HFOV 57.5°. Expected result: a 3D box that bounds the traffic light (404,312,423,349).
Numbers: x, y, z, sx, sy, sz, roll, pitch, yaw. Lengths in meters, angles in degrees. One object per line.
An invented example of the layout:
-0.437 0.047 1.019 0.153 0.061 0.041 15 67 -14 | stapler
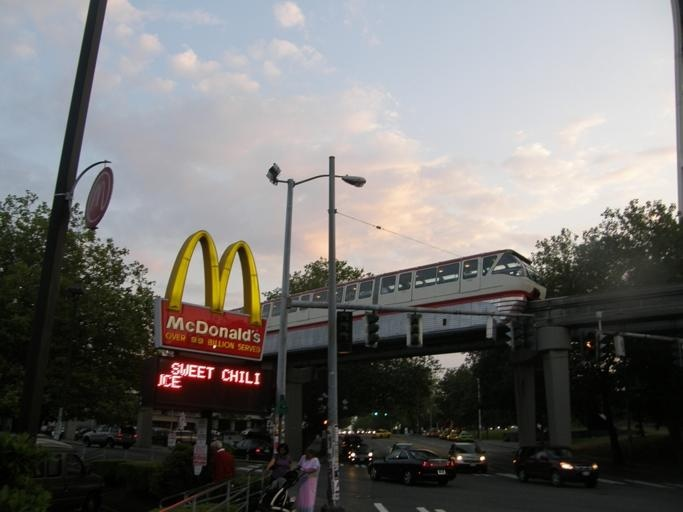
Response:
2.928 2.933 24.899 0.546 1.284 0.485 0 -19 0 | traffic light

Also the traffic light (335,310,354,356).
0.110 2.731 22.796 0.492 1.592 0.670 -5 -20 14 | traffic light
